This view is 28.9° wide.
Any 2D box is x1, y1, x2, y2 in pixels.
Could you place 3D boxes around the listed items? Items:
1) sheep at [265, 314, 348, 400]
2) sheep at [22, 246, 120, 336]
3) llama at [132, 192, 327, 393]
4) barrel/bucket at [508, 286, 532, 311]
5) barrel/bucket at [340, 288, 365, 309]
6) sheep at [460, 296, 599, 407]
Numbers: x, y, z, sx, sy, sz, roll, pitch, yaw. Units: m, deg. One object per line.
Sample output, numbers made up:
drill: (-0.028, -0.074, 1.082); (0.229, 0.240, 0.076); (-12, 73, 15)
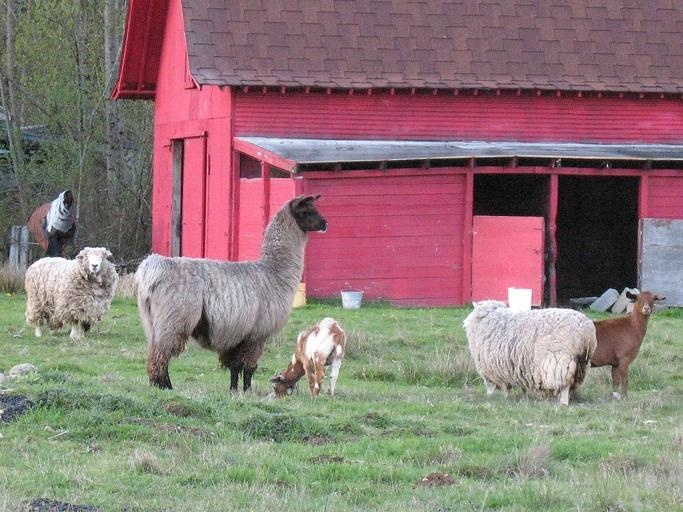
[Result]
sheep: (-0.524, 1.736, 23.428); (1.147, 1.463, 1.221); (-1, 8, -35)
sheep: (-5.668, 0.770, 27.129); (2.115, 1.810, 1.211); (-4, -2, 39)
llama: (-1.879, 0.602, 23.408); (3.453, 3.566, 1.351); (-2, 4, -30)
barrel/bucket: (4.150, 0.980, 30.520); (0.626, 0.731, 0.679); (0, 3, 0)
barrel/bucket: (0.275, 0.994, 31.000); (0.397, 0.319, 0.410); (4, -5, 0)
sheep: (3.507, 1.701, 23.868); (2.324, 1.637, 1.263); (4, -2, 40)
